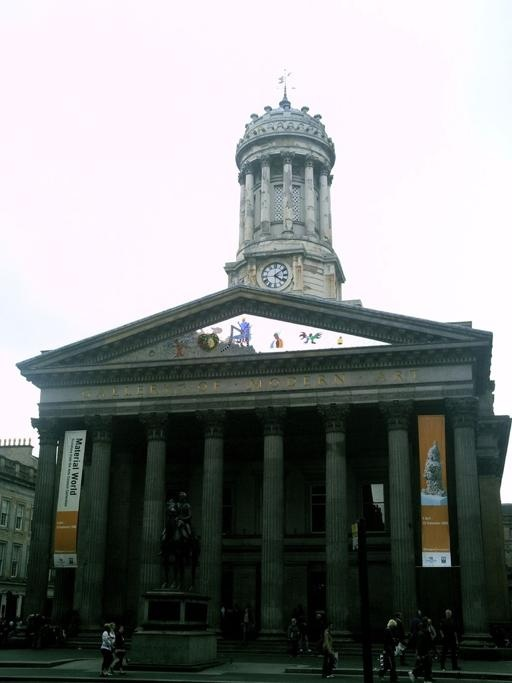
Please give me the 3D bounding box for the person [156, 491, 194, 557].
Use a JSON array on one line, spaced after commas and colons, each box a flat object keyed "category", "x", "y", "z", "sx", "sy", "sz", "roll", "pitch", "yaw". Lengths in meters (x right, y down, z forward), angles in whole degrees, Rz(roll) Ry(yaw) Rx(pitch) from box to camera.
[{"category": "person", "x": -2.376, "y": 5.490, "z": 24.416, "sx": 0.916, "sy": 1.938, "sz": 0.979, "roll": 3, "pitch": -21, "yaw": -7}]
